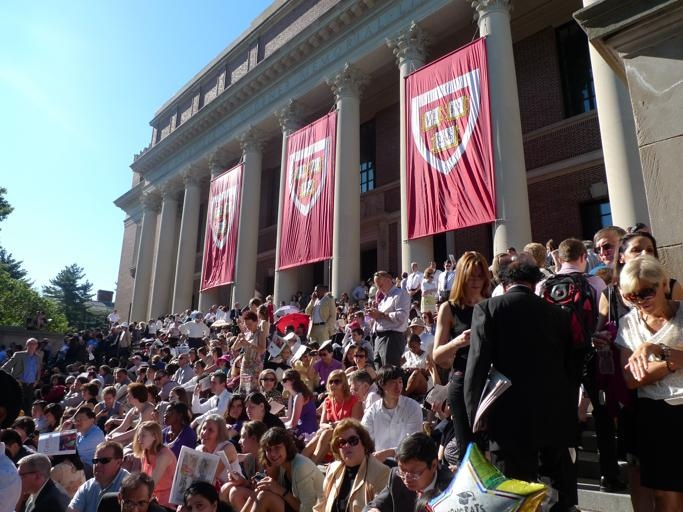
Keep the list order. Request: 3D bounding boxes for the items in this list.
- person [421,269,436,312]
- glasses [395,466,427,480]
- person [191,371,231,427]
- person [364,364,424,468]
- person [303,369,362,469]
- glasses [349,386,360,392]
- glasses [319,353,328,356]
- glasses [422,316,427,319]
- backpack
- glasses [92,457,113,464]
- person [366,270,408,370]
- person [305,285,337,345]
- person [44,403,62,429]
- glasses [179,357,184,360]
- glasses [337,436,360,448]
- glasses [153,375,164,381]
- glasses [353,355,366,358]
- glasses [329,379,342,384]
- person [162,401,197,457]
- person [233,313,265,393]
[{"bbox_3d":[2.591,1.201,13.391,0.416,1.793,0.449,1,12,15],"label":"person"},{"bbox_3d":[0.585,1.874,3.929,0.227,0.083,0.085,-10,-20,30],"label":"glasses"},{"bbox_3d":[-2.568,2.897,8.855,0.754,1.240,0.688,2,-12,2],"label":"person"},{"bbox_3d":[0.547,2.045,5.677,0.757,1.363,0.901,-11,-17,37],"label":"person"},{"bbox_3d":[-0.134,2.434,6.773,0.629,1.388,1.149,-4,-10,30],"label":"person"},{"bbox_3d":[0.194,1.991,6.844,0.100,0.040,0.113,-2,-5,27],"label":"glasses"},{"bbox_3d":[-0.394,2.034,9.429,0.181,0.064,0.087,-11,-21,32],"label":"glasses"},{"bbox_3d":[1.985,1.466,10.933,0.066,0.062,0.072,4,-9,-20],"label":"glasses"},{"bbox_3d":[2.084,0.561,4.229,0.433,0.792,0.386,-14,-32,42],"label":"backpack"},{"bbox_3d":[-2.945,2.504,5.592,0.229,0.086,0.069,-3,-17,10],"label":"glasses"},{"bbox_3d":[0.761,1.449,8.220,0.620,2.371,0.829,2,0,-23],"label":"person"},{"bbox_3d":[-0.641,1.986,12.987,0.759,2.378,0.650,1,6,12],"label":"person"},{"bbox_3d":[-5.811,3.243,9.183,0.308,0.552,0.938,10,-20,-30],"label":"person"},{"bbox_3d":[-4.144,2.641,11.815,0.088,0.079,0.097,1,-23,-3],"label":"glasses"},{"bbox_3d":[0.068,1.934,4.757,0.230,0.109,0.066,0,-16,1],"label":"glasses"},{"bbox_3d":[-4.411,2.932,10.908,0.244,0.123,0.131,-5,-18,18],"label":"glasses"},{"bbox_3d":[0.341,1.845,8.355,0.184,0.095,0.112,0,-17,1],"label":"glasses"},{"bbox_3d":[-0.097,1.902,6.917,0.163,0.077,0.062,2,-17,-3],"label":"glasses"},{"bbox_3d":[-2.464,2.599,6.847,0.370,0.791,0.634,20,-38,-39],"label":"person"},{"bbox_3d":[-1.820,1.865,8.970,0.626,1.628,0.538,5,-16,-14],"label":"person"}]
